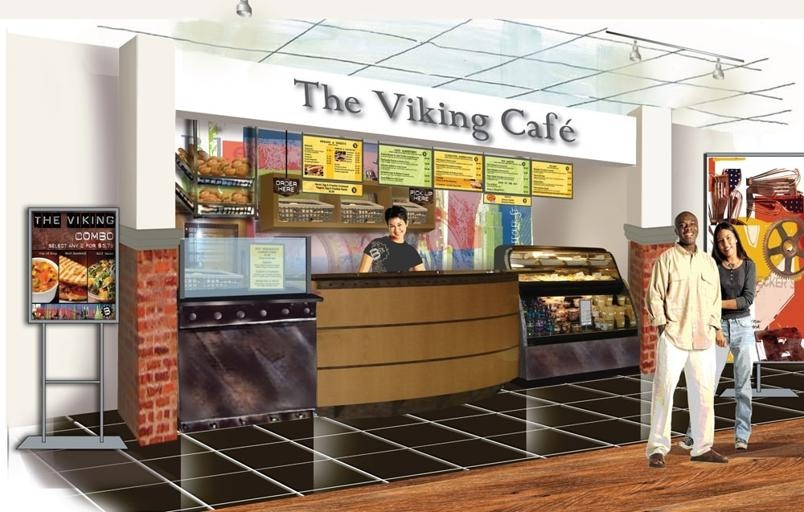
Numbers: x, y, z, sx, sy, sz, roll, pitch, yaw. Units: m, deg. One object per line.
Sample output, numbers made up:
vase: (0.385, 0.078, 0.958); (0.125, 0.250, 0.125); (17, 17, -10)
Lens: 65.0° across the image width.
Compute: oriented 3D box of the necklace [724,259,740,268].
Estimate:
necklace: (3.161, 0.075, 6.051); (0.096, 0.023, 0.095); (-30, 50, -9)

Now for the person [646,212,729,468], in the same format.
person: (2.426, 0.708, 5.444); (0.702, 2.131, 0.520); (-2, 11, -6)

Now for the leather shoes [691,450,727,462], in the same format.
leather shoes: (2.666, 1.752, 5.534); (0.346, 0.108, 0.105); (-2, -2, 10)

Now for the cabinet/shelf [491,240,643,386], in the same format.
cabinet/shelf: (2.043, 0.779, 7.875); (2.165, 1.626, 1.045); (0, -5, -21)

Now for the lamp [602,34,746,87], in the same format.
lamp: (4.192, -3.043, 9.672); (2.866, 0.347, 0.272); (2, 6, -23)

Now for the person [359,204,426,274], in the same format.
person: (-0.162, -0.237, 7.850); (1.115, 1.116, 0.372); (2, -7, -14)

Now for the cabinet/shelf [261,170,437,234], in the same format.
cabinet/shelf: (-0.446, -0.769, 9.135); (2.803, 0.675, 0.661); (4, 5, 33)

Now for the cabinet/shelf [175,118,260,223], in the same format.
cabinet/shelf: (-2.385, -1.118, 8.242); (1.074, 1.290, 0.462); (-3, 11, -15)

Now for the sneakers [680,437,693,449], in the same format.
sneakers: (2.585, 1.702, 5.737); (0.066, 0.062, 0.160); (3, -1, -39)
